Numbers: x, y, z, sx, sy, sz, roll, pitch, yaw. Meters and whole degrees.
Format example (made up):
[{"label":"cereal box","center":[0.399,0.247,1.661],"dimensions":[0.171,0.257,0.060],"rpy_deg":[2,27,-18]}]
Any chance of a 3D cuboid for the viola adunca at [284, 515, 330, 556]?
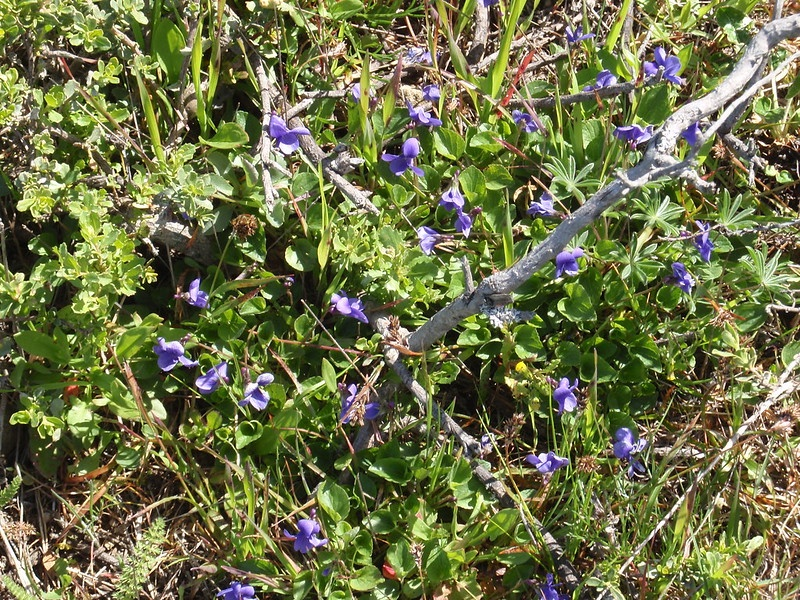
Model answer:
[{"label":"viola adunca","center":[-0.348,0.887,3.002],"dimensions":[0.144,0.085,0.176],"rpy_deg":[-22,82,14]}]
